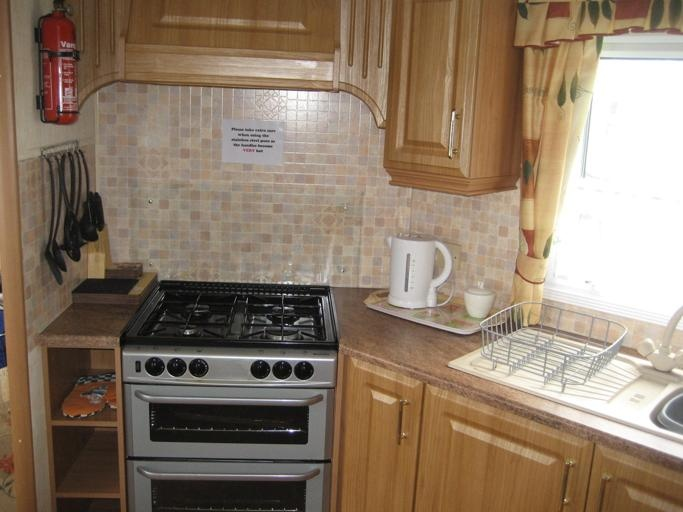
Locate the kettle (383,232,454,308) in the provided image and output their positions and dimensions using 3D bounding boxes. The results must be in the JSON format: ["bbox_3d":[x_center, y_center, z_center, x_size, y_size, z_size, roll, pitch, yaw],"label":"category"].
[{"bbox_3d":[0.353,0.065,2.668,0.231,0.378,0.221,-3,18,-19],"label":"kettle"}]

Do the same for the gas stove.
[{"bbox_3d":[-0.478,0.244,2.642,0.899,0.077,0.660,0,18,-2],"label":"gas stove"}]

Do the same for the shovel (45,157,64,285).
[{"bbox_3d":[-1.188,-0.170,2.359,0.067,0.488,0.111,2,9,-14],"label":"shovel"}]

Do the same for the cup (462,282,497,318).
[{"bbox_3d":[0.628,0.195,2.617,0.134,0.159,0.135,1,8,0],"label":"cup"}]
